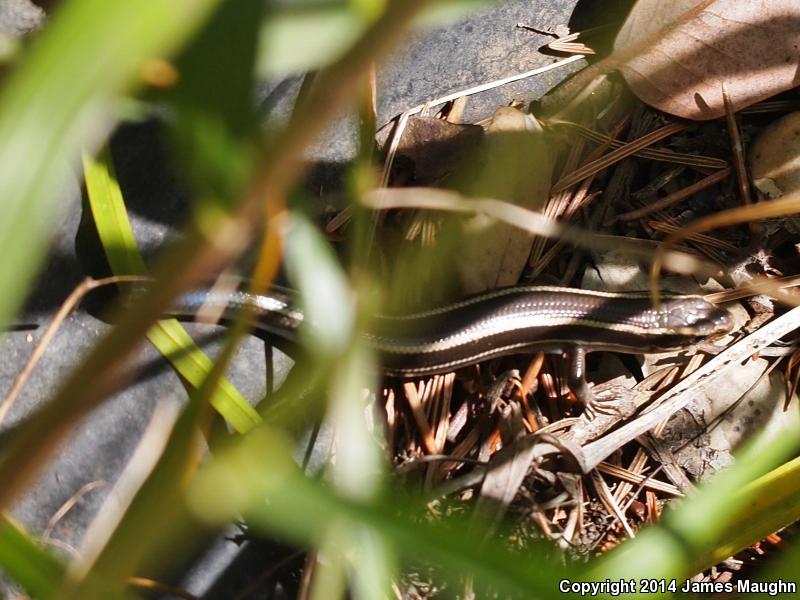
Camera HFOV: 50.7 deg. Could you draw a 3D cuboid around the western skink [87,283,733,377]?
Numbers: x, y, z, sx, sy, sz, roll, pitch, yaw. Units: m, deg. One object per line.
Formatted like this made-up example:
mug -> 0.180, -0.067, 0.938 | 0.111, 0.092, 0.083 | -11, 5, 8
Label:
western skink -> 0.037, 0.077, 2.120 | 1.146, 0.159, 0.194 | -3, 18, -4
